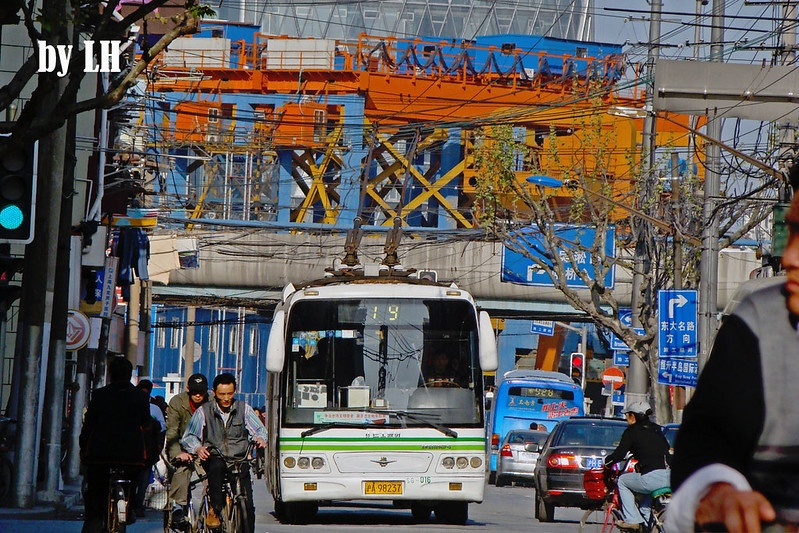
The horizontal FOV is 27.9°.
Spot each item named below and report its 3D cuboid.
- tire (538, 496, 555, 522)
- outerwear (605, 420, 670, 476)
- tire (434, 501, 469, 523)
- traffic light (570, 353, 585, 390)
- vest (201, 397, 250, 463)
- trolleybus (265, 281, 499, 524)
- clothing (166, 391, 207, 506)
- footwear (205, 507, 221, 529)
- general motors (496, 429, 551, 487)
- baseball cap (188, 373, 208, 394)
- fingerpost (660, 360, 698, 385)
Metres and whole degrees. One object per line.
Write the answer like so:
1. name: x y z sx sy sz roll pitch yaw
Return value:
1. tire: 3.061 5.101 33.986 0.224 0.604 0.589 3 1 -8
2. outerwear: 4.260 3.256 28.989 0.917 0.672 0.860 -11 1 41
3. tire: 1.067 5.016 32.875 0.496 0.518 0.505 3 -5 -9
4. traffic light: 6.796 4.054 62.264 0.520 1.455 0.469 3 15 8
5. vest: -2.967 2.798 27.326 1.088 1.369 0.770 1 -16 -13
6. trolleybus: -0.454 2.587 31.815 3.030 3.392 5.916 1 -9 -6
7. clothing: -3.713 3.177 28.678 0.746 2.271 0.621 0 0 -22
8. footwear: -3.091 4.185 26.784 0.247 0.259 0.646 1 -11 -10
9. general motors: 3.142 5.066 44.469 1.321 1.441 3.308 9 2 -5
10. baseball cap: -3.564 2.073 28.431 0.271 0.248 0.390 5 -2 -9
11. fingerpost: 6.840 2.559 39.525 0.186 0.801 1.357 0 -1 -31
